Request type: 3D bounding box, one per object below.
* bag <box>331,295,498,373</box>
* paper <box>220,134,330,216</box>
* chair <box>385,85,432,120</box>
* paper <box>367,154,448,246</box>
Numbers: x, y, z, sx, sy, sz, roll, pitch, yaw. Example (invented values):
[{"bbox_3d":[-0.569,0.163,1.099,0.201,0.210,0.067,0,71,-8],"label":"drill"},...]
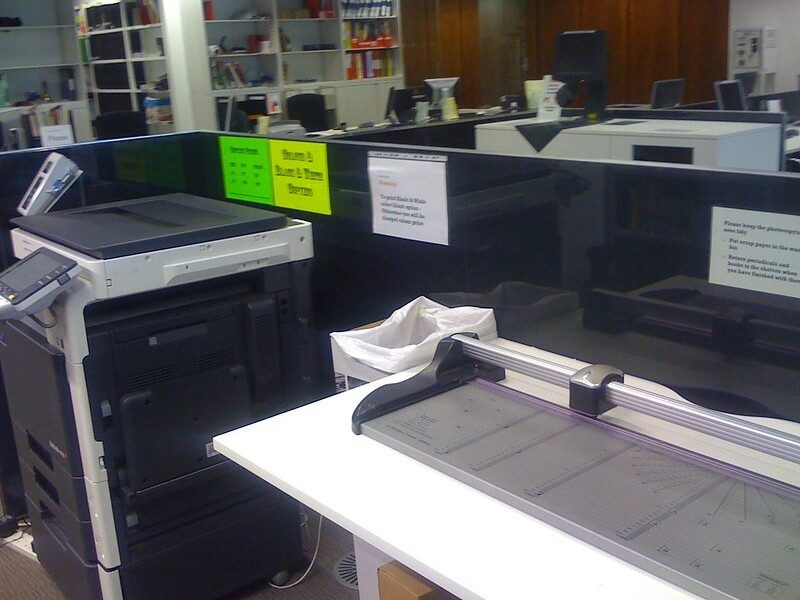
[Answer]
[{"bbox_3d":[0.015,0.074,1.837,0.341,0.124,0.320,-13,16,-39],"label":"bag"},{"bbox_3d":[-0.507,-0.501,2.428,0.671,0.254,0.017,17,29,40],"label":"paper"},{"bbox_3d":[0.066,-1.775,5.590,0.436,0.319,0.411,-4,18,2],"label":"chair"},{"bbox_3d":[0.028,-0.325,1.951,0.321,0.235,0.033,18,40,35],"label":"paper"}]
